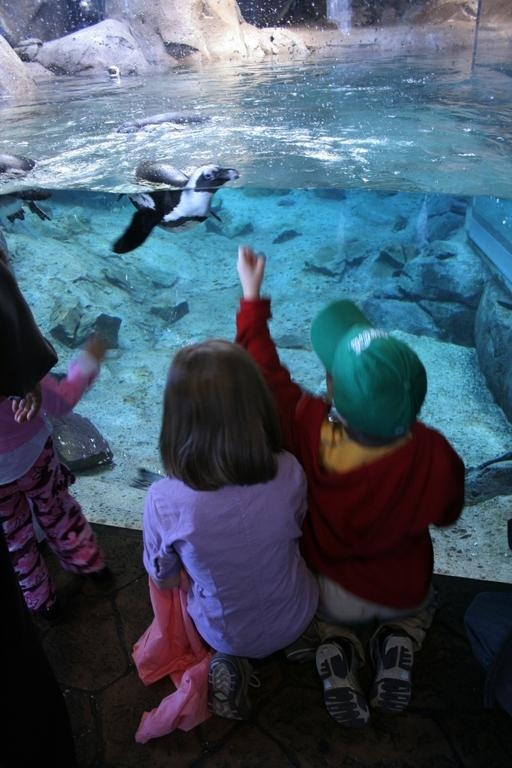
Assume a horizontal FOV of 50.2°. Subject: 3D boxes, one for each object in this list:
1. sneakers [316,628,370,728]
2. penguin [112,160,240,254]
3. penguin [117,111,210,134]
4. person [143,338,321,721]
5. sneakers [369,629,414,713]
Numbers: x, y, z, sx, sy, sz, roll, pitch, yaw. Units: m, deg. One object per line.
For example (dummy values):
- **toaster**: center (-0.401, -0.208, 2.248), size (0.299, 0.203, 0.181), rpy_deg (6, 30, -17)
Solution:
- **sneakers**: center (0.278, 0.920, 1.827), size (0.128, 0.345, 0.159), rpy_deg (-15, -18, 11)
- **penguin**: center (-0.572, -1.199, 3.693), size (0.455, 0.615, 0.927), rpy_deg (-27, 35, -36)
- **penguin**: center (-0.563, -1.590, 3.305), size (0.548, 0.094, 0.124), rpy_deg (-5, 28, -2)
- **person**: center (-0.080, 0.467, 1.686), size (0.484, 1.102, 0.570), rpy_deg (-2, 32, -1)
- **sneakers**: center (0.439, 0.923, 1.793), size (0.117, 0.313, 0.145), rpy_deg (0, -4, 13)
